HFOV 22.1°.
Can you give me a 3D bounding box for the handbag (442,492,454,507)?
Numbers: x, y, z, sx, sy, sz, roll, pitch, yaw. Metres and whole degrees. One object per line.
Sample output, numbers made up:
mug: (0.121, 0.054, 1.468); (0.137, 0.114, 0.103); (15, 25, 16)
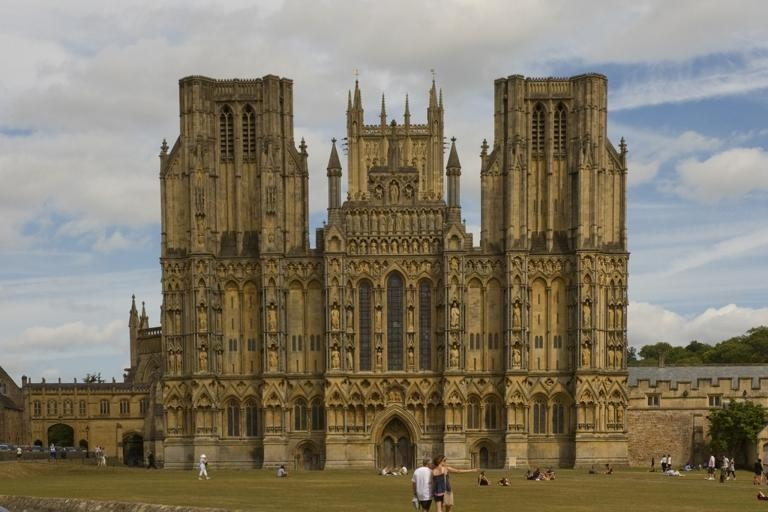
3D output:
handbag: (5.150, 19.542, 155.740); (0.438, 1.160, 0.947); (-8, -9, 39)
